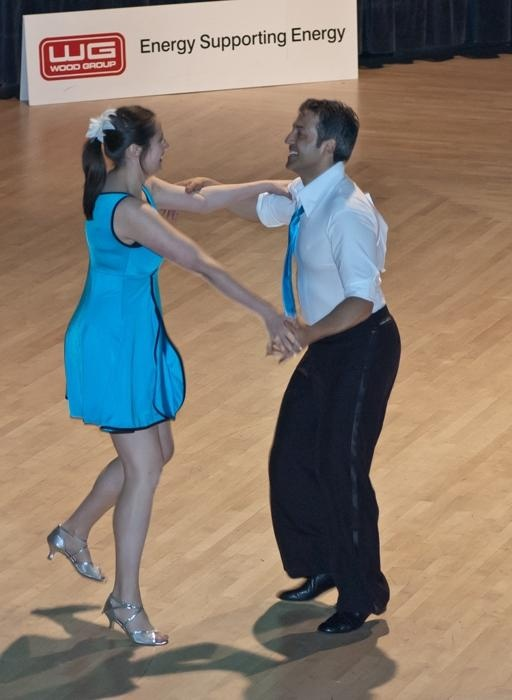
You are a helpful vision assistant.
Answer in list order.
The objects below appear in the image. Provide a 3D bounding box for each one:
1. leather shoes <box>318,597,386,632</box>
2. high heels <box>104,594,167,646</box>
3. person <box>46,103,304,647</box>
[{"bbox_3d":[0.276,0.744,1.900,0.200,0.064,0.065,-9,12,-14],"label":"leather shoes"},{"bbox_3d":[-0.316,0.713,1.800,0.204,0.091,0.064,13,3,21],"label":"high heels"},{"bbox_3d":[-0.300,0.075,1.935,0.613,1.426,0.640,-6,8,-20],"label":"person"}]
